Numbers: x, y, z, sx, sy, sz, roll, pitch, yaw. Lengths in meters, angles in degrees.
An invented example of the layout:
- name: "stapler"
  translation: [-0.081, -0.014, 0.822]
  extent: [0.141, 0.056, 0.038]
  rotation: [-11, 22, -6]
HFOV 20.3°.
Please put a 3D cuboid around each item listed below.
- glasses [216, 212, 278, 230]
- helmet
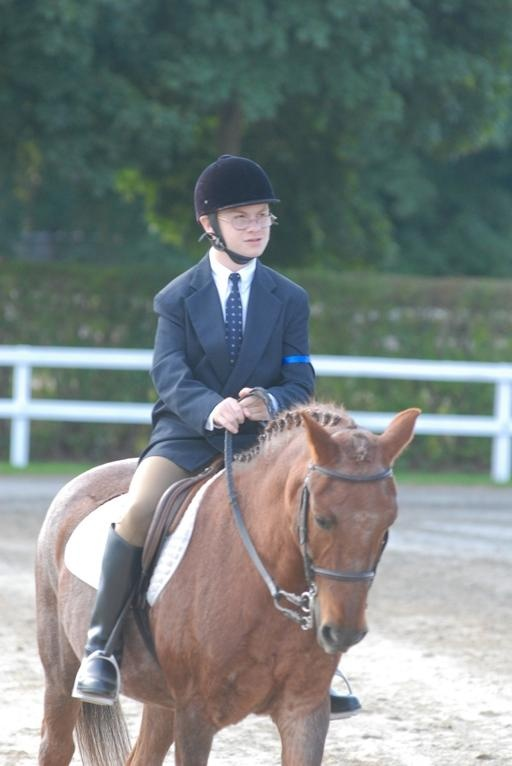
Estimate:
- name: "glasses"
  translation: [-0.013, -0.656, 5.824]
  extent: [0.150, 0.074, 0.287]
  rotation: [9, 10, 43]
- name: "helmet"
  translation: [-0.101, -0.823, 5.874]
  extent: [0.337, 0.254, 0.420]
  rotation: [-9, 7, -34]
